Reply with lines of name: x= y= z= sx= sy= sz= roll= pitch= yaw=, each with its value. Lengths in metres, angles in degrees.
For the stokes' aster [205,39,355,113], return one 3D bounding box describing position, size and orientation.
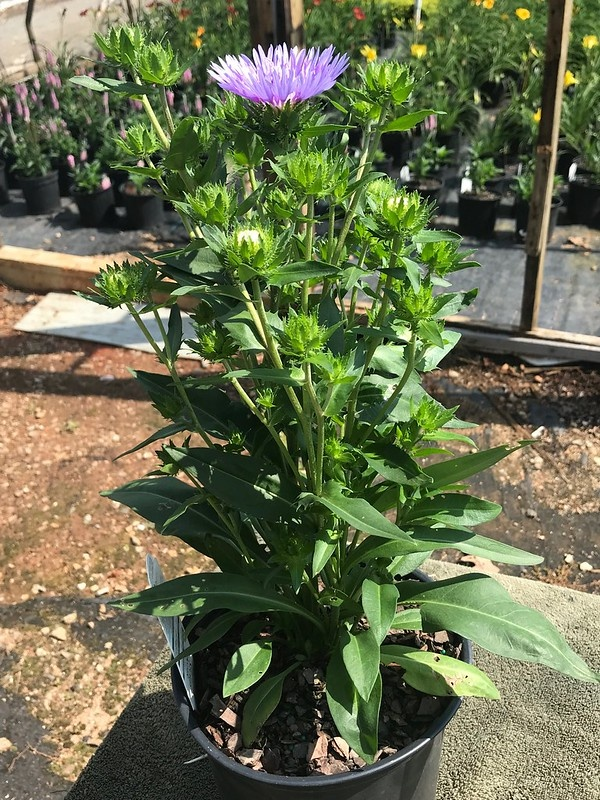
stokes' aster: x=-0.039 y=-0.423 z=0.924 sx=0.185 sy=0.075 sz=0.170 roll=-20 pitch=30 yaw=-17
